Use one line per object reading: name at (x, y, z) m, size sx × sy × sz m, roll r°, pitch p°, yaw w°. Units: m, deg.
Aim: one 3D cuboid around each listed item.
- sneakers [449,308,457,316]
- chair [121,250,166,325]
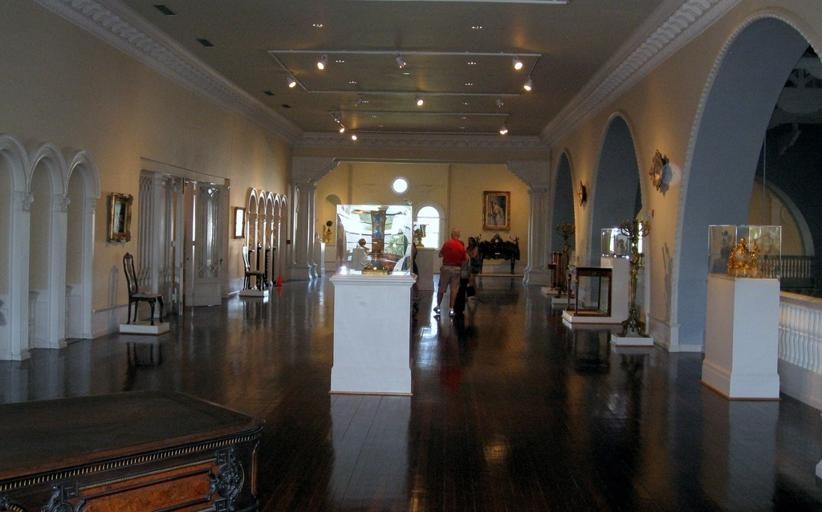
sneakers at (1.044, 1.453, 14.050) m, size 0.100 × 0.149 × 0.131 m, roll 5°, pitch -11°, yaw -16°
chair at (-5.739, 0.678, 11.781) m, size 0.675 × 1.532 × 0.654 m, roll 0°, pitch -3°, yaw -6°
